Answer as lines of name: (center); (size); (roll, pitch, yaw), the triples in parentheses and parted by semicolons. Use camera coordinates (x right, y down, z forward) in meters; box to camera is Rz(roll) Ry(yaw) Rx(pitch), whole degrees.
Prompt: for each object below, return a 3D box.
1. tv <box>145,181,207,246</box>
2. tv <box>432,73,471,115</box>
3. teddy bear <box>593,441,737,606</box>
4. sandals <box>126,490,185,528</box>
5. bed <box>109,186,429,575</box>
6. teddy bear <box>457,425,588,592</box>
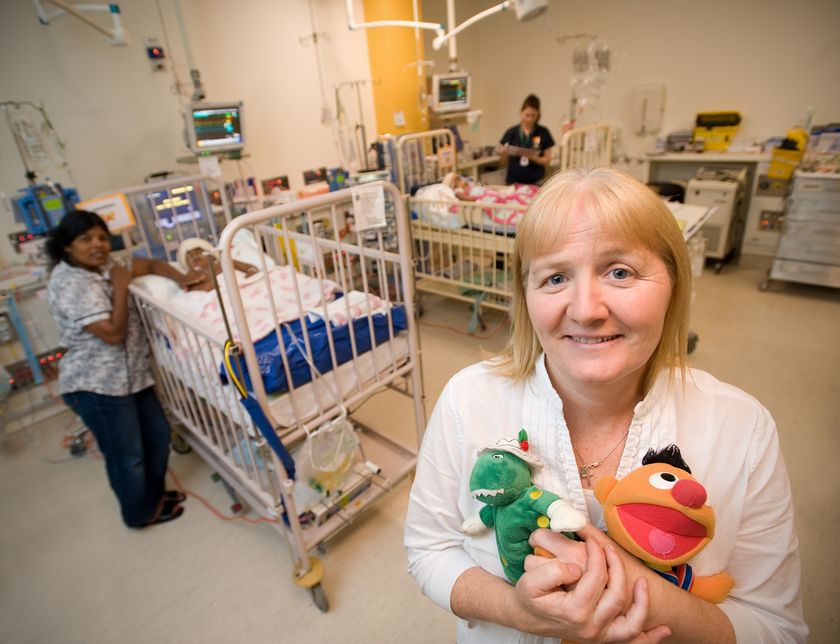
tv: (-1.494, -0.673, 3.482); (0.077, 0.326, 0.334); (13, 33, 37)
tv: (0.261, -1.923, 4.804); (0.321, 0.300, 0.165); (-17, 34, -29)
teddy bear: (0.661, 0.554, 1.576); (0.396, 0.429, 0.265); (11, -16, 10)
sandals: (-1.409, 1.008, 3.059); (0.240, 0.076, 0.134); (-15, 39, -29)
bed: (-1.126, 0.237, 3.332); (2.195, 1.955, 1.296); (0, 17, 41)
teddy bear: (0.312, 0.539, 1.623); (0.317, 0.412, 0.198); (9, 27, 26)
